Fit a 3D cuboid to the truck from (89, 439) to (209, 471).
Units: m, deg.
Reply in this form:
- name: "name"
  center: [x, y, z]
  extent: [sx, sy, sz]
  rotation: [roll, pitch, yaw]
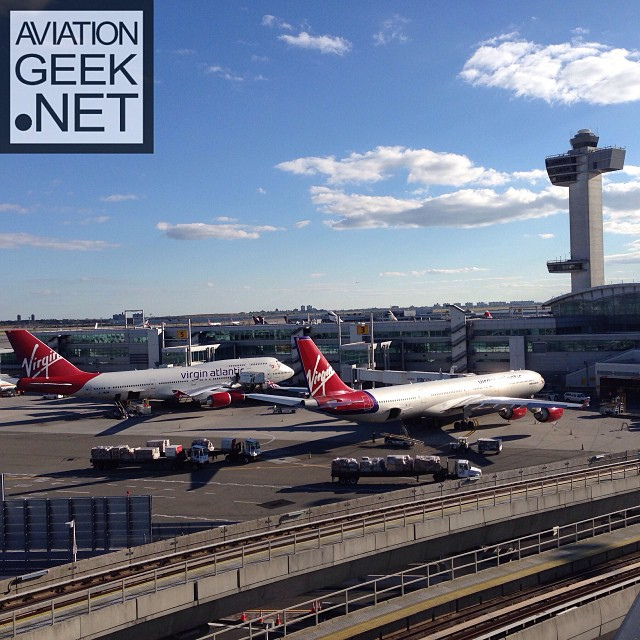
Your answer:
- name: "truck"
  center: [-14.554, 11.661, 88.540]
  extent: [7.657, 1.223, 3.524]
  rotation: [-1, -1, 2]

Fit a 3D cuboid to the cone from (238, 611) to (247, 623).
- name: "cone"
  center: [-4.974, 18.960, 65.893]
  extent: [0.474, 0.567, 0.952]
  rotation: [-4, -1, -9]

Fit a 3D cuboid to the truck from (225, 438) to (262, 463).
- name: "truck"
  center: [-6.696, 11.477, 89.744]
  extent: [2.742, 1.610, 1.039]
  rotation: [-3, -1, -5]

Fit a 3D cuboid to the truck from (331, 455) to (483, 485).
- name: "truck"
  center: [6.209, 11.970, 82.414]
  extent: [10.826, 1.928, 1.545]
  rotation: [-2, -1, 7]

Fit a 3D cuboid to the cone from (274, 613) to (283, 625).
- name: "cone"
  center: [-2.709, 18.982, 65.584]
  extent: [0.451, 0.592, 0.825]
  rotation: [-4, -1, -3]

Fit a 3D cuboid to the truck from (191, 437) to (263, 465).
- name: "truck"
  center: [-8.621, 11.484, 90.403]
  extent: [6.882, 1.522, 2.153]
  rotation: [-1, -1, 1]

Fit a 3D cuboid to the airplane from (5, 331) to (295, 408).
- name: "airplane"
  center: [-20.932, 6.658, 115.588]
  extent: [19.063, 3.875, 15.189]
  rotation: [-1, 1, -39]
